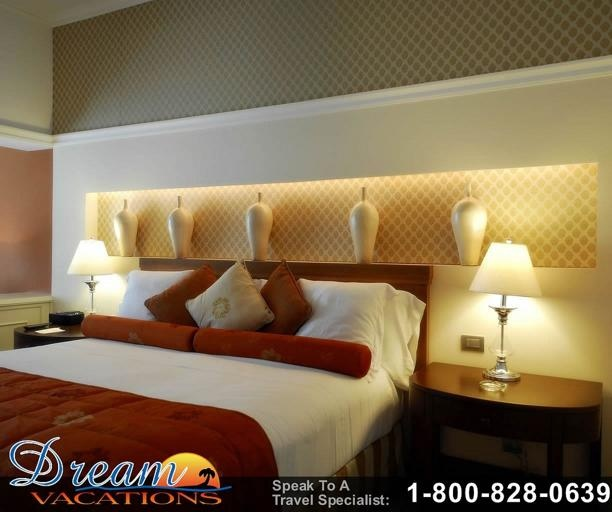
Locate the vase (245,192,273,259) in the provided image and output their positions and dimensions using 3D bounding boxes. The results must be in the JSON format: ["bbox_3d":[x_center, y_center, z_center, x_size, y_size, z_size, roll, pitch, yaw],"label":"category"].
[{"bbox_3d":[-0.348,-0.174,3.420,0.187,0.419,0.093,2,2,-4],"label":"vase"}]

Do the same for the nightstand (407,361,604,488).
[{"bbox_3d":[1.038,0.897,2.415,0.943,0.392,0.579,3,2,25],"label":"nightstand"}]

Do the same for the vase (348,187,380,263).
[{"bbox_3d":[0.381,-0.153,3.057,0.181,0.412,0.104,2,2,4],"label":"vase"}]

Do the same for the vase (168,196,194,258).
[{"bbox_3d":[-1.029,-0.241,3.843,0.190,0.525,0.259,1,2,-13],"label":"vase"}]

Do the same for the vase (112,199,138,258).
[{"bbox_3d":[-1.609,-0.249,4.122,0.277,0.508,0.183,3,2,44],"label":"vase"}]
